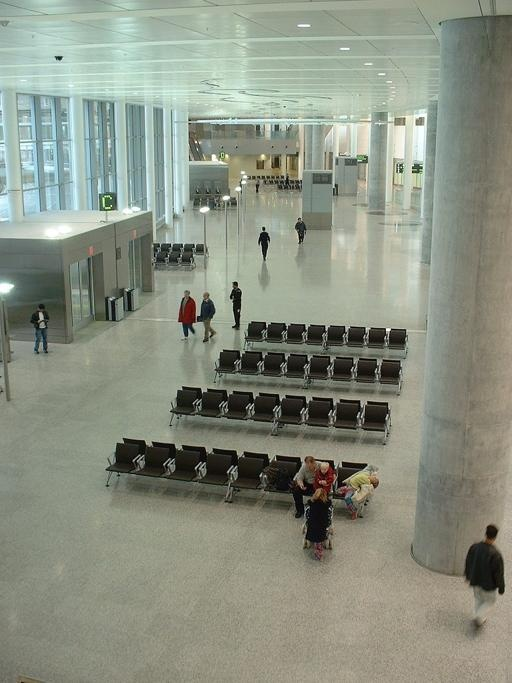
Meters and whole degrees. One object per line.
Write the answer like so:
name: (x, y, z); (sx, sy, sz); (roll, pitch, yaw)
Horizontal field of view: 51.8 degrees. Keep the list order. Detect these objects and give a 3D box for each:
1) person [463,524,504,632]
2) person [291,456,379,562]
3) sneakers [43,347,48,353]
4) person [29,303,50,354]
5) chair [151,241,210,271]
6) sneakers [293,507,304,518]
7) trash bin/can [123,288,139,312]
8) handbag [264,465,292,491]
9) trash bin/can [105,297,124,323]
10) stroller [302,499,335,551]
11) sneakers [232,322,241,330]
person: (2.037, 2.114, 4.733); (0.294, 1.155, 0.499); (3, 10, 21)
person: (1.045, 1.981, 6.535); (0.715, 0.679, 1.203); (9, 28, 16)
sneakers: (-5.780, 0.235, 14.588); (0.106, 0.105, 0.179); (8, 4, 2)
person: (-5.902, -0.367, 14.464); (0.404, 1.341, 0.767); (-5, 10, -23)
chair: (-3.738, -4.260, 25.919); (2.547, 1.146, 2.360); (-3, 9, -12)
sneakers: (0.578, 2.306, 7.145); (0.068, 0.106, 0.152); (2, 9, 16)
trash bin/can: (-4.383, -1.479, 18.476); (0.415, 0.793, 0.589); (2, 22, 4)
handbag: (0.302, 1.923, 7.380); (0.344, 0.360, 0.273); (1, 13, -6)
trash bin/can: (-4.710, -1.064, 17.458); (0.426, 0.827, 0.634); (3, 15, 12)
stroller: (0.723, 2.119, 6.282); (0.355, 0.661, 0.647); (0, 7, 5)
sneakers: (-0.619, -0.515, 16.479); (0.103, 0.208, 0.320); (-17, 30, -41)
